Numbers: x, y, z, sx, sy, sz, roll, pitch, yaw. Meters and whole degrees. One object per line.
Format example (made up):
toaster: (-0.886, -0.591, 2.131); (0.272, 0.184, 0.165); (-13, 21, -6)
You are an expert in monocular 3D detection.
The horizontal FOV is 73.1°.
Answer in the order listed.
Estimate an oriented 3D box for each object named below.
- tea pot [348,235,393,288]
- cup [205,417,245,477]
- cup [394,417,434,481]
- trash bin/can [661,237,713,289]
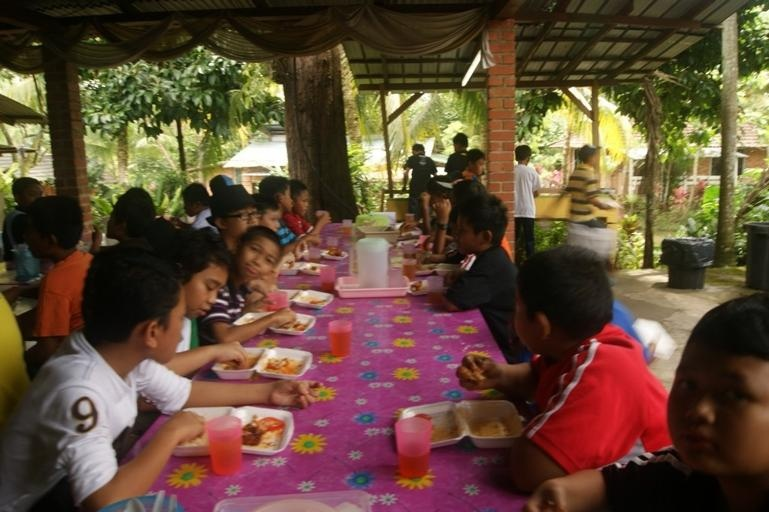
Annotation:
tea pot: (-0.080, 0.034, 3.418); (0.292, 0.311, 0.280); (-1, -4, 0)
cup: (-0.560, 0.665, 1.797); (0.149, 0.185, 0.151); (1, 18, 0)
cup: (0.100, 0.658, 1.811); (0.126, 0.173, 0.150); (1, 9, 4)
trash bin/can: (4.492, 0.092, 7.940); (1.057, 0.743, 0.658); (-4, 6, -24)
